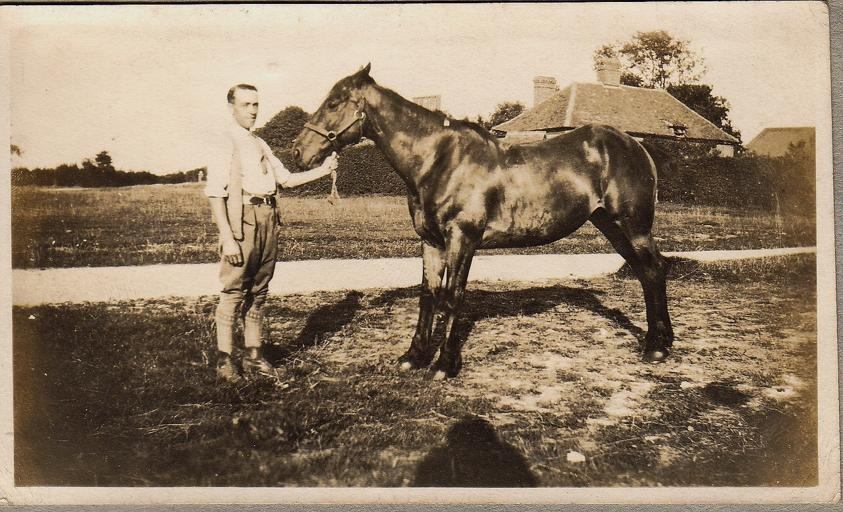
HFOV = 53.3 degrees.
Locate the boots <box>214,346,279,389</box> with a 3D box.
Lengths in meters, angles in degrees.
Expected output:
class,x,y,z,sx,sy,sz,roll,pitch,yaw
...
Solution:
class,x,y,z,sx,sy,sz,roll,pitch,yaw
boots,-2.181,1.370,10.396,1.070,0.527,0.332,-2,11,-7
